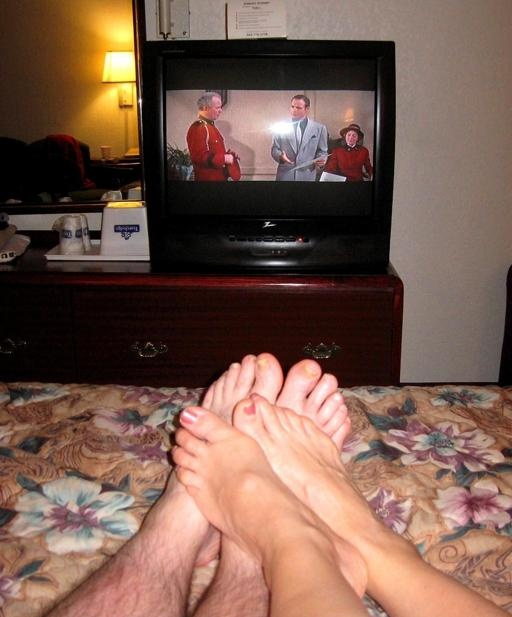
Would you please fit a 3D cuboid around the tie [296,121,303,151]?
[{"bbox_3d":[0.129,-0.521,1.517,0.027,0.079,0.010,1,16,2],"label":"tie"}]

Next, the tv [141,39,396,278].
[{"bbox_3d":[0.091,-0.517,1.706,0.841,0.658,0.484,4,20,11],"label":"tv"}]

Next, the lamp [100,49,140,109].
[{"bbox_3d":[-0.453,-0.771,1.720,0.165,0.234,0.153,-4,19,-17],"label":"lamp"}]

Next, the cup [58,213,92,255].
[{"bbox_3d":[-0.601,-0.257,1.704,0.137,0.126,0.111,16,23,28],"label":"cup"}]

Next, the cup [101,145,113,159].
[{"bbox_3d":[-0.519,-0.550,1.781,0.041,0.038,0.033,-13,50,-24],"label":"cup"}]
